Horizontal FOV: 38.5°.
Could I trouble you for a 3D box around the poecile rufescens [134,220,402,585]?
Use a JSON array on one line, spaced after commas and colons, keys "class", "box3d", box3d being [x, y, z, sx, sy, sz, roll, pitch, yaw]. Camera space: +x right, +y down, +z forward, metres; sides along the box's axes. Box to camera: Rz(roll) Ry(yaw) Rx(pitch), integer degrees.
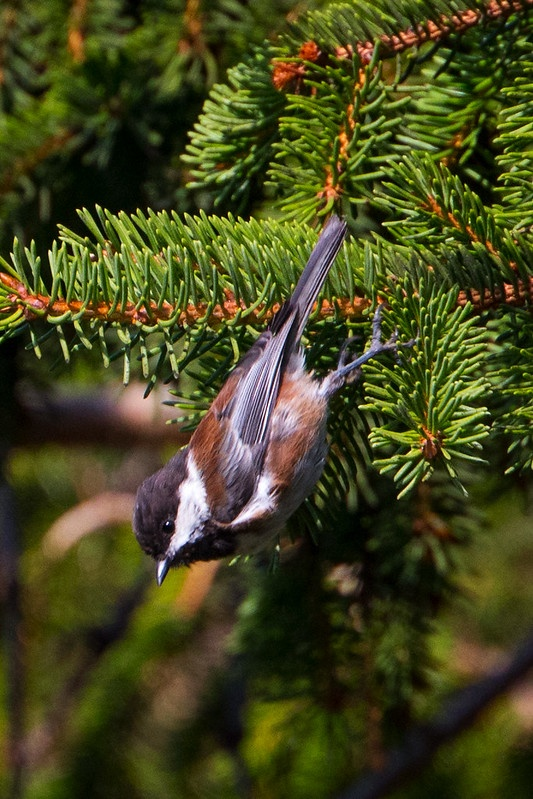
[{"class": "poecile rufescens", "box3d": [-0.142, 0.173, 2.180, 0.420, 1.266, 0.569, 35, 28, 14]}]
